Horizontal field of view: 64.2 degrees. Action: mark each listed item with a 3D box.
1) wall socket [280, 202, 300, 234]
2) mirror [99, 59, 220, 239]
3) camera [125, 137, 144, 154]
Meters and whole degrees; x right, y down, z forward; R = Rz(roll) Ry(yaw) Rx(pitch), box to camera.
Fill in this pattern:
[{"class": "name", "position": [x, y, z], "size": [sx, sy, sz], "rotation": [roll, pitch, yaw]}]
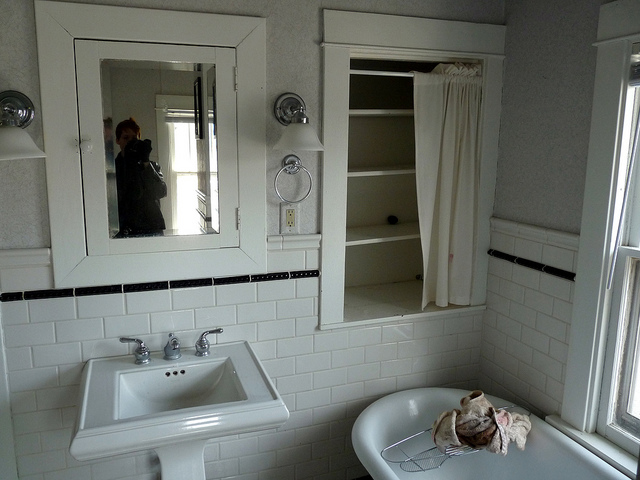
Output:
[{"class": "wall socket", "position": [-0.165, -0.119, 2.817], "size": [0.117, 0.206, 0.022], "rotation": [0, -30, -2]}, {"class": "mirror", "position": [-0.801, -0.467, 2.577], "size": [0.679, 1.157, 0.037], "rotation": [-1, -18, -22]}, {"class": "camera", "position": [-0.925, -0.465, 2.535], "size": [0.081, 0.079, 0.030], "rotation": [-7, 23, -34]}]
